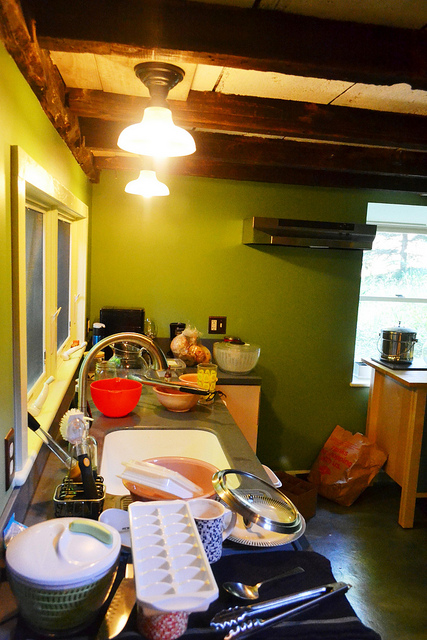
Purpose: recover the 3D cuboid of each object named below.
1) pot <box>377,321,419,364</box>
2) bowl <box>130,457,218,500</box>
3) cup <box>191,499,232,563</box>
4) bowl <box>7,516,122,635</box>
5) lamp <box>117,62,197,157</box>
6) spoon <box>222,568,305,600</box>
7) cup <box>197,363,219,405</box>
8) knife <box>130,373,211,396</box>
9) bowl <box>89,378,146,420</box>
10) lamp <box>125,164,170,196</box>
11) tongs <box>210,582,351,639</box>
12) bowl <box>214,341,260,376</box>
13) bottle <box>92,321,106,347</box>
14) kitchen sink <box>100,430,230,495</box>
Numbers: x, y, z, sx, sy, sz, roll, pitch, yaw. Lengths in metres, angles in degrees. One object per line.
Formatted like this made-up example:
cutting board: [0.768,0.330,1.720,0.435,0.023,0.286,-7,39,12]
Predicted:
pot: [1.362,0.139,3.557,0.293,0.333,0.281,0,7,0]
bowl: [-0.092,0.463,1.408,0.290,0.113,0.288,-4,-17,-1]
cup: [0.003,0.456,0.986,0.090,0.090,0.057,-5,-38,23]
bowl: [-0.233,0.393,0.796,0.151,0.133,0.179,3,0,1]
lamp: [-0.164,-0.642,1.445,0.224,0.248,0.235,11,12,42]
spoon: [0.099,0.486,0.928,0.150,0.024,0.045,-6,6,-36]
cup: [-0.024,0.282,2.232,0.108,0.184,0.111,0,22,0]
knife: [-0.156,0.263,1.865,0.359,0.057,0.148,5,5,38]
bowl: [-0.392,0.318,1.922,0.191,0.135,0.222,1,4,-14]
lamp: [-0.345,-0.725,2.616,0.225,0.152,0.229,13,18,42]
tongs: [0.122,0.473,0.846,0.277,0.036,0.073,-4,8,-32]
bowl: [0.137,0.229,3.029,0.221,0.150,0.222,0,1,0]
bottle: [-0.688,0.086,2.865,0.064,0.147,0.302,1,4,-14]
kitchen sink: [-0.182,0.498,1.676,0.408,0.162,0.272,1,4,-13]
